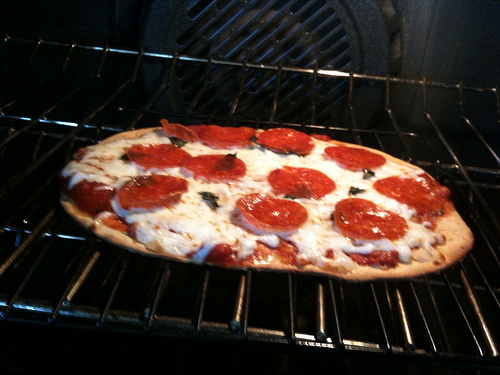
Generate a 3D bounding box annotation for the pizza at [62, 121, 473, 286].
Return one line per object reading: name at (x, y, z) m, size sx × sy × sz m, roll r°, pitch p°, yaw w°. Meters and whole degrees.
pizza at (0.091, 0.058, 1.137) m, size 0.931 × 0.632 × 0.126 m, roll 6°, pitch -59°, yaw -1°
